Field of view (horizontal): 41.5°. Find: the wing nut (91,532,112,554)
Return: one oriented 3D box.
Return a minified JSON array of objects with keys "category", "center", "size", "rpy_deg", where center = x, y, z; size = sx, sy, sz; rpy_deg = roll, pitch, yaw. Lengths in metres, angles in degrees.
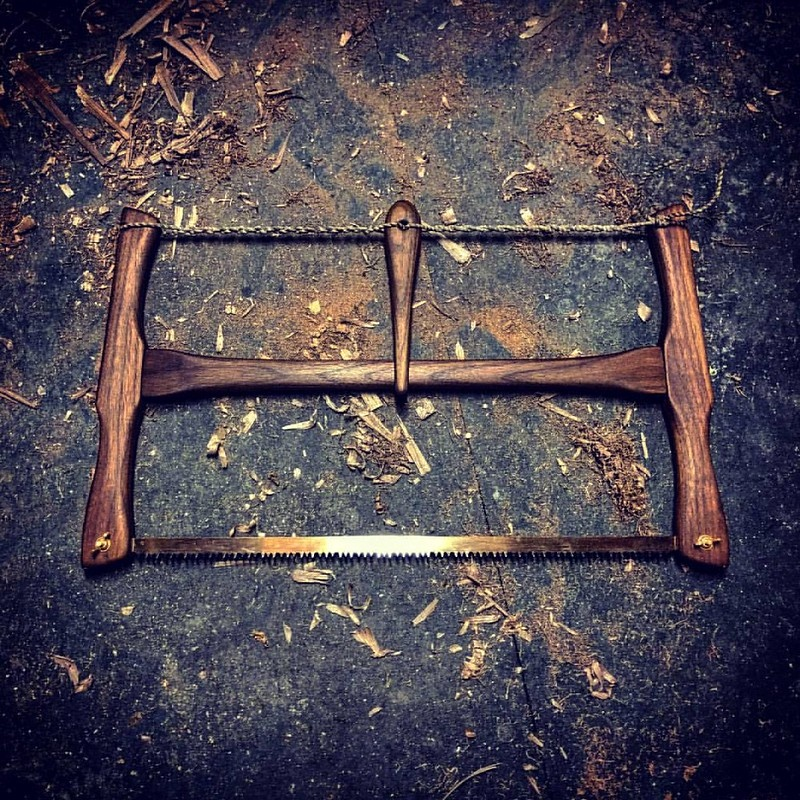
[{"category":"wing nut","center":[-0.849,0.406,3.005],"size":[0.045,0.020,0.058],"rpy_deg":[15,83,-5]}]

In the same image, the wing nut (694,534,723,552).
[{"category":"wing nut","center":[0.870,0.409,3.017],"size":[0.067,0.017,0.042],"rpy_deg":[-5,97,-5]}]
